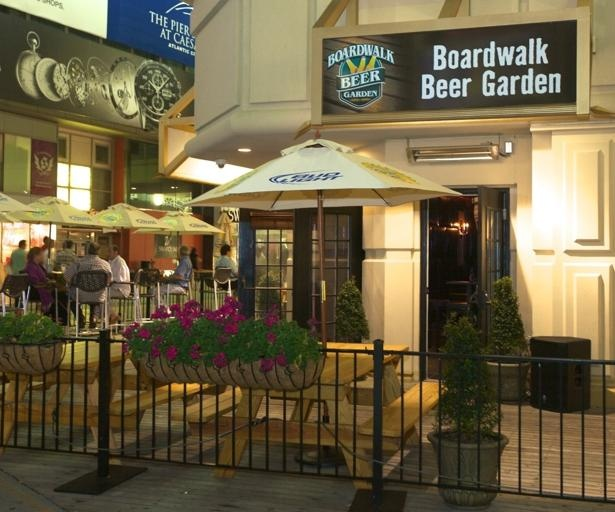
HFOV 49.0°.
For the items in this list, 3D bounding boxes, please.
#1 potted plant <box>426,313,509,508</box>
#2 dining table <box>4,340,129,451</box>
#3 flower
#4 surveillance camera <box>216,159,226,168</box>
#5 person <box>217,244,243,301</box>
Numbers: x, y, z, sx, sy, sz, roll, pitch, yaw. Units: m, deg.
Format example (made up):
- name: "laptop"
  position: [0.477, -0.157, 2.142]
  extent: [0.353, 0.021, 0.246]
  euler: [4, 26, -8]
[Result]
- name: "potted plant"
  position: [1.263, 1.226, 5.307]
  extent: [0.623, 1.469, 0.572]
  euler: [0, -3, 16]
- name: "dining table"
  position: [-2.514, 1.387, 6.762]
  extent: [1.391, 0.792, 1.564]
  euler: [0, 0, 8]
- name: "flower"
  position: [-0.711, 0.670, 5.520]
  extent: [1.105, 0.399, 0.721]
  euler: [1, -2, 29]
- name: "surveillance camera"
  position: [-1.614, -1.663, 12.175]
  extent: [0.137, 0.114, 0.145]
  euler: [-1, -3, -5]
- name: "person"
  position: [-1.870, 0.359, 15.669]
  extent: [0.561, 1.272, 0.655]
  euler: [14, 19, 33]
